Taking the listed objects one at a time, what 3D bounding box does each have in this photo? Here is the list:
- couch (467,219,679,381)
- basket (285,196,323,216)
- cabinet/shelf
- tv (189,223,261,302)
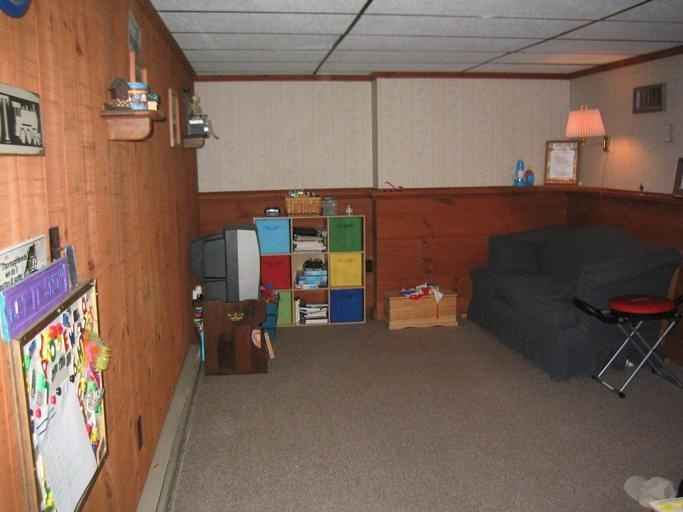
[{"bbox_3d":[2.088,0.730,5.111,1.192,1.303,2.004,1,8,-9],"label":"couch"},{"bbox_3d":[-0.427,-0.582,5.903,0.292,0.141,0.232,-2,8,-14],"label":"basket"},{"bbox_3d":[-0.356,0.157,5.757,1.173,1.135,0.385,-1,4,-8],"label":"cabinet/shelf"},{"bbox_3d":[-1.028,-0.043,4.798,0.649,0.687,0.633,-4,20,-19],"label":"tv"}]
